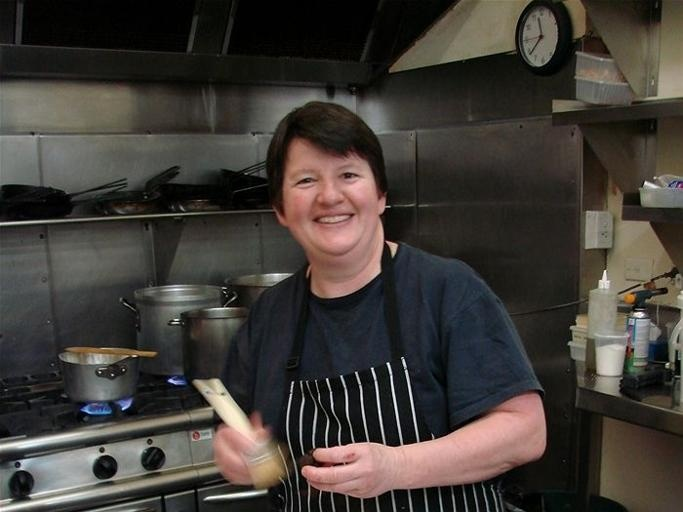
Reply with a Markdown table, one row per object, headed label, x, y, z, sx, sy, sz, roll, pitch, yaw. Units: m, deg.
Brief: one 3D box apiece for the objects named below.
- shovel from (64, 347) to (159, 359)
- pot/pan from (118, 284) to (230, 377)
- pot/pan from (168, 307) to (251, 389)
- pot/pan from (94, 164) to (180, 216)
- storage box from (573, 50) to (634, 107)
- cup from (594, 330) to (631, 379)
| label | x | y | z | sx | sy | sz | roll | pitch | yaw |
| --- | --- | --- | --- | --- | --- | --- | --- | --- | --- |
| shovel | -0.951 | 0.406 | 2.407 | 0.306 | 0.040 | 0.078 | -2 | 0 | 4 |
| pot/pan | -0.751 | 0.267 | 2.662 | 0.586 | 0.405 | 0.382 | 0 | 2 | -6 |
| pot/pan | -0.581 | 0.360 | 2.482 | 0.389 | 0.285 | 0.298 | -3 | 7 | -26 |
| pot/pan | -0.951 | -0.303 | 2.750 | 0.311 | 0.168 | 0.213 | 1 | 6 | -8 |
| storage box | 0.991 | -0.676 | 2.222 | 0.242 | 0.165 | 0.166 | -8 | 15 | -30 |
| cup | 1.030 | 0.379 | 2.211 | 0.153 | 0.165 | 0.152 | 2 | -4 | 0 |
